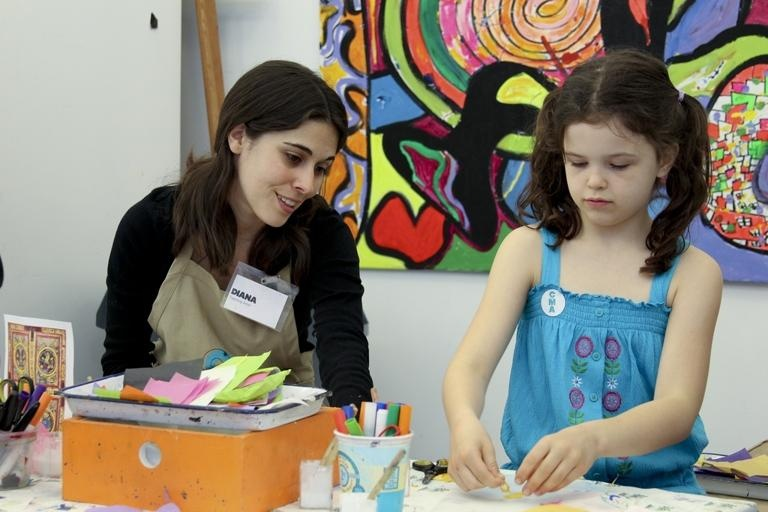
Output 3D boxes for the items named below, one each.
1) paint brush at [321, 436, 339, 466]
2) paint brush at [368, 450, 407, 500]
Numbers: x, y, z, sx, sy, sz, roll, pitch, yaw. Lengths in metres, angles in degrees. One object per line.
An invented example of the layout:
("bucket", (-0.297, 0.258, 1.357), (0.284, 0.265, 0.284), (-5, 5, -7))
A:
("paint brush", (-0.105, 0.383, 1.401), (0.025, 0.021, 0.078), (-26, 7, 11))
("paint brush", (0.005, 0.394, 1.302), (0.082, 0.072, 0.032), (2, 1, -45))
